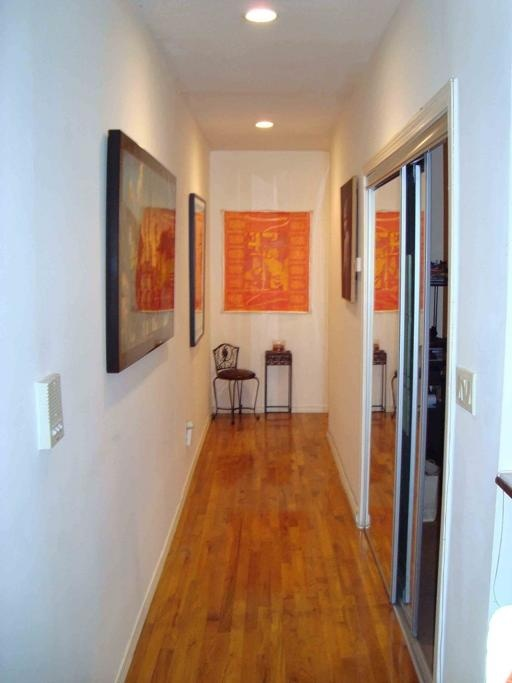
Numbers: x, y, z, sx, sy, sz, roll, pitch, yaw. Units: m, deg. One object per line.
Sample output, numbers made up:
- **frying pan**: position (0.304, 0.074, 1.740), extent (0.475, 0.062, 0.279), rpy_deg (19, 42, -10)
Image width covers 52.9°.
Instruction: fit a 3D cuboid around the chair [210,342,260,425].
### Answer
- **chair**: position (-0.219, 0.450, 5.515), extent (0.535, 0.820, 0.703), rpy_deg (-1, 4, -4)
